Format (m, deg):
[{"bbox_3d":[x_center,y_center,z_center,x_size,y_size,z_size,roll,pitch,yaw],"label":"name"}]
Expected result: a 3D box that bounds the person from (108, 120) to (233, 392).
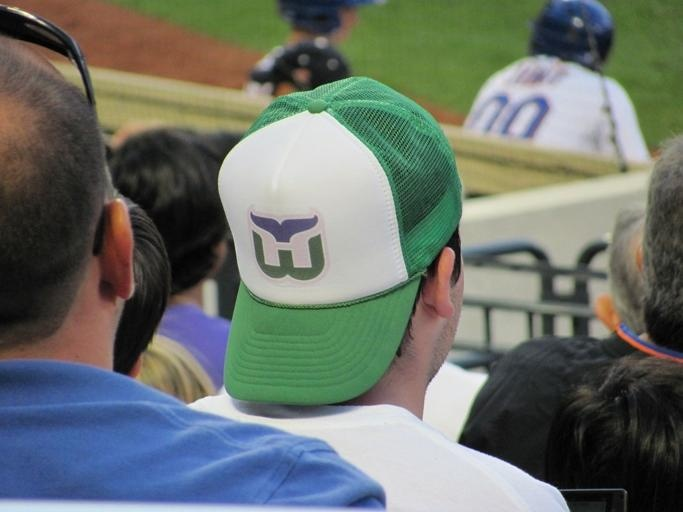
[{"bbox_3d":[-0.563,-0.028,7.793,0.502,0.450,0.866,5,54,-4],"label":"person"}]
